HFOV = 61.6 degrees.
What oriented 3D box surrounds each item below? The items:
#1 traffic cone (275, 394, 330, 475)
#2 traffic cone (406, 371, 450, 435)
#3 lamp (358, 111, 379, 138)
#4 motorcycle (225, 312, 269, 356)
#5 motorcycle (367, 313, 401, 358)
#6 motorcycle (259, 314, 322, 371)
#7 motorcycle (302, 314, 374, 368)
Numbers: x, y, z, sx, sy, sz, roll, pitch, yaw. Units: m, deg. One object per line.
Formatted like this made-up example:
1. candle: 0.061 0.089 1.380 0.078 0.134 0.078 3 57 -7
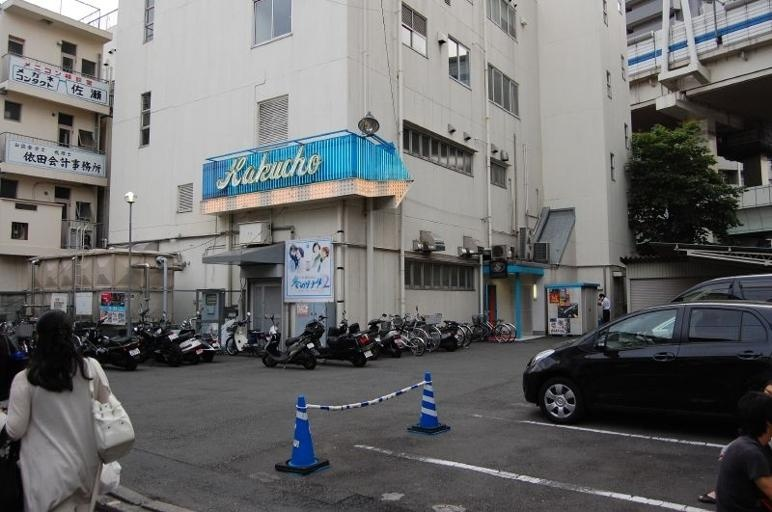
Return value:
1. traffic cone: -1.401 2.993 10.870 0.914 1.114 0.927 2 -5 -39
2. traffic cone: 0.827 2.785 12.393 0.759 0.978 0.759 0 -3 37
3. lamp: -0.594 -4.451 21.963 0.781 0.866 0.889 5 19 -4
4. motorcycle: -5.202 2.958 23.483 1.819 1.270 0.920 10 -21 -43
5. motorcycle: -0.347 2.816 22.351 0.766 1.376 2.011 27 -18 -33
6. motorcycle: -2.962 2.664 19.655 1.986 1.520 0.919 -4 0 25
7. motorcycle: -1.641 2.684 20.246 2.492 1.529 0.888 -2 -5 26
